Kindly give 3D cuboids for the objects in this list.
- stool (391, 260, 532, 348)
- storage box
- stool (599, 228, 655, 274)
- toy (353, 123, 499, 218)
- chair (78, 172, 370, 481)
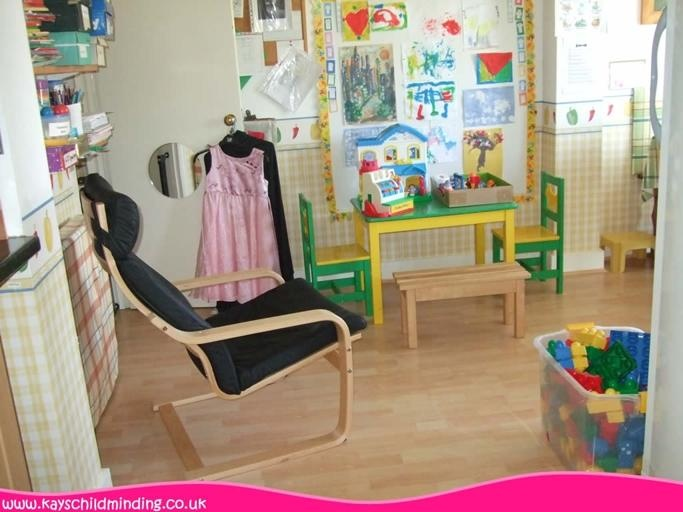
[{"bbox_3d":[0.727,0.289,3.447,0.776,0.445,0.278,-3,6,-4],"label":"stool"},{"bbox_3d":[1.035,0.574,2.260,0.367,0.534,0.507,-3,6,-5],"label":"storage box"},{"bbox_3d":[2.152,-0.076,4.280,0.352,0.220,0.353,-3,11,-4],"label":"stool"},{"bbox_3d":[0.404,-0.592,3.814,0.897,0.588,0.693,-10,22,-16],"label":"toy"},{"bbox_3d":[-0.502,0.266,2.483,1.035,1.291,0.760,-6,7,-30],"label":"chair"}]
